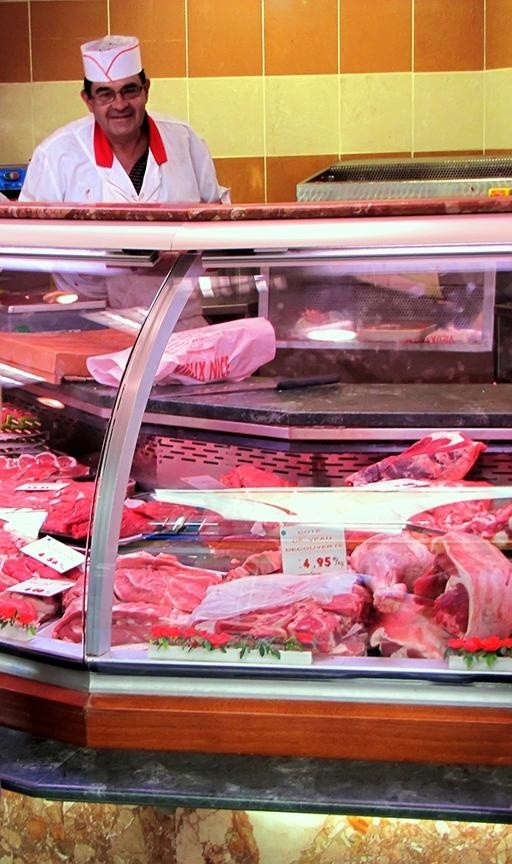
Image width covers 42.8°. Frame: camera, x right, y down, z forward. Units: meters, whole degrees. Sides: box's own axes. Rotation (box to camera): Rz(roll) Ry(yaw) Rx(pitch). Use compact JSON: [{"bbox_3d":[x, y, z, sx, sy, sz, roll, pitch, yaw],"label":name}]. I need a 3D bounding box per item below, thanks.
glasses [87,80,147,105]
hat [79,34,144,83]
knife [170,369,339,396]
[{"bbox_3d":[-0.539,-1.287,2.474,0.204,0.087,0.095,-5,11,1],"label":"glasses"},{"bbox_3d":[-0.553,-1.447,2.490,0.217,0.142,0.224,-5,34,3],"label":"hat"},{"bbox_3d":[0.000,-0.084,1.135,0.165,0.017,0.023,-9,12,-12],"label":"knife"}]
